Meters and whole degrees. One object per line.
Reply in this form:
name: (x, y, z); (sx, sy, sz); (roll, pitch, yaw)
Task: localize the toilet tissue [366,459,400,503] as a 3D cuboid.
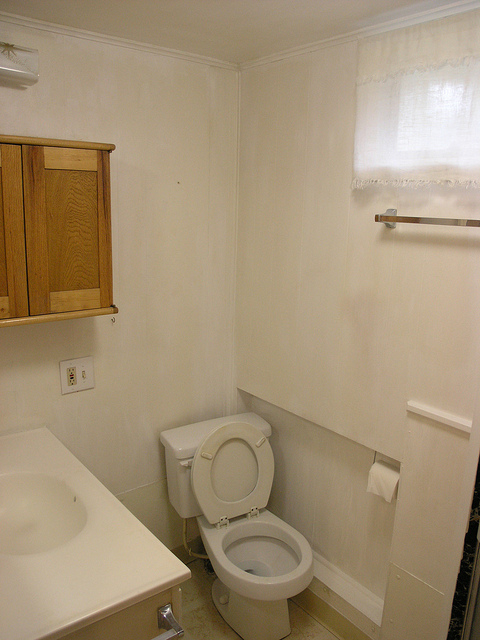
toilet tissue: (0.447, 0.491, 1.612); (0.084, 0.105, 0.101); (-8, 22, -43)

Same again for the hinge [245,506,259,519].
hinge: (0.054, 0.747, 2.022); (0.038, 0.047, 0.042); (-3, 10, -27)

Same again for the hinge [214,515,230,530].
hinge: (-0.064, 0.754, 1.943); (0.040, 0.047, 0.043); (-2, 13, -28)
